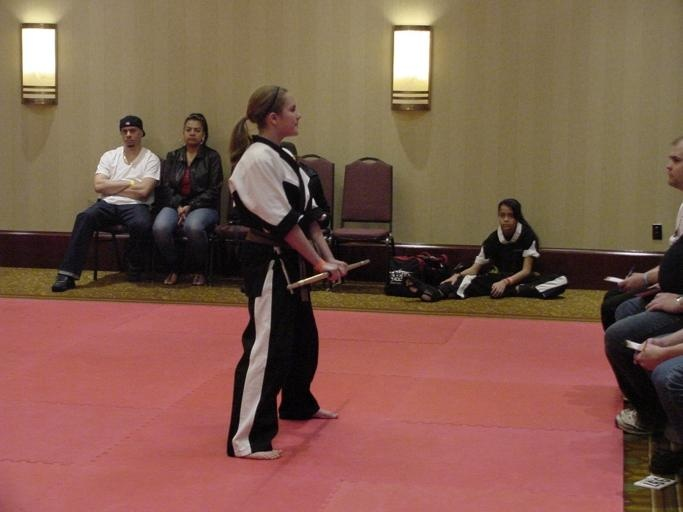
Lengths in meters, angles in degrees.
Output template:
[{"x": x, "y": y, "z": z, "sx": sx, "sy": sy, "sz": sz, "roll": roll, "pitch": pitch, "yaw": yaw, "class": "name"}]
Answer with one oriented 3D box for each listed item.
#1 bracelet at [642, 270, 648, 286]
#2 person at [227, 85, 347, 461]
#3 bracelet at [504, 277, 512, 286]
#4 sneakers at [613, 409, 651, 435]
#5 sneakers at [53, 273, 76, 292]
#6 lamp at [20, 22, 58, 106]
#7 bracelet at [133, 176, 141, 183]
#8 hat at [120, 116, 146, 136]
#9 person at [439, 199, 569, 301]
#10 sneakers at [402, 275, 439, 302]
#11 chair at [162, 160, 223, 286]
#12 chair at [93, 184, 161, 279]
[{"x": 1.607, "y": 0.120, "z": 3.262, "sx": 0.013, "sy": 0.061, "sz": 0.057, "roll": 0, "pitch": 8, "yaw": 13, "class": "bracelet"}, {"x": -0.235, "y": 0.036, "z": 2.734, "sx": 0.510, "sy": 1.559, "sz": 0.583, "roll": 0, "pitch": 10, "yaw": -3, "class": "person"}, {"x": 1.498, "y": 0.240, "z": 5.585, "sx": 0.087, "sy": 0.029, "sz": 0.064, "roll": -22, "pitch": 8, "yaw": -14, "class": "bracelet"}, {"x": 1.361, "y": 0.772, "z": 2.884, "sx": 0.078, "sy": 0.054, "sz": 0.119, "roll": -19, "pitch": 27, "yaw": -39, "class": "sneakers"}, {"x": -2.582, "y": 0.251, "z": 5.701, "sx": 0.092, "sy": 0.128, "sz": 0.287, "roll": 1, "pitch": -4, "yaw": 1, "class": "sneakers"}, {"x": -3.415, "y": -2.165, "z": 6.950, "sx": 0.398, "sy": 0.887, "sz": 0.131, "roll": 1, "pitch": 10, "yaw": 6, "class": "lamp"}, {"x": -2.100, "y": -0.782, "z": 6.308, "sx": 0.085, "sy": 0.100, "sz": 0.054, "roll": -1, "pitch": -26, "yaw": -11, "class": "bracelet"}, {"x": -2.167, "y": -1.372, "z": 6.403, "sx": 0.172, "sy": 0.162, "sz": 0.241, "roll": 0, "pitch": -12, "yaw": 0, "class": "hat"}, {"x": 1.468, "y": -0.058, "z": 5.754, "sx": 1.054, "sy": 0.985, "sz": 0.756, "roll": 0, "pitch": -2, "yaw": 16, "class": "person"}, {"x": 0.724, "y": 0.302, "z": 5.504, "sx": 0.399, "sy": 0.152, "sz": 0.187, "roll": 30, "pitch": 2, "yaw": 8, "class": "sneakers"}, {"x": -1.568, "y": -0.569, "z": 6.322, "sx": 0.540, "sy": 1.666, "sz": 0.857, "roll": 0, "pitch": 6, "yaw": -1, "class": "chair"}, {"x": -2.235, "y": -0.202, "z": 6.362, "sx": 0.536, "sy": 0.869, "sz": 0.597, "roll": 0, "pitch": 3, "yaw": -10, "class": "chair"}]
